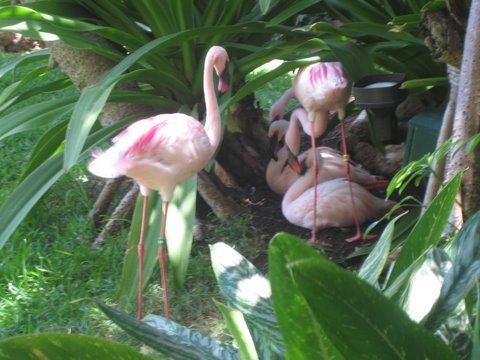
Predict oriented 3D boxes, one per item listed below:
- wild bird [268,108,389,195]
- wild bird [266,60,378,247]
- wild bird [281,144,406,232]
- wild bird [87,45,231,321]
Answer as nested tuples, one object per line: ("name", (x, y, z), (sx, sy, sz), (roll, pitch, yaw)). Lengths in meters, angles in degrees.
("wild bird", (0.468, -0.188, 2.844), (0.653, 0.592, 0.371), (-7, 8, 21))
("wild bird", (0.428, -0.164, 2.561), (0.418, 0.829, 0.610), (7, 10, 4))
("wild bird", (0.486, 0.060, 2.495), (0.469, 0.325, 0.340), (-1, 30, 41))
("wild bird", (-0.279, 0.002, 1.947), (0.366, 1.038, 0.542), (14, 13, 35))
